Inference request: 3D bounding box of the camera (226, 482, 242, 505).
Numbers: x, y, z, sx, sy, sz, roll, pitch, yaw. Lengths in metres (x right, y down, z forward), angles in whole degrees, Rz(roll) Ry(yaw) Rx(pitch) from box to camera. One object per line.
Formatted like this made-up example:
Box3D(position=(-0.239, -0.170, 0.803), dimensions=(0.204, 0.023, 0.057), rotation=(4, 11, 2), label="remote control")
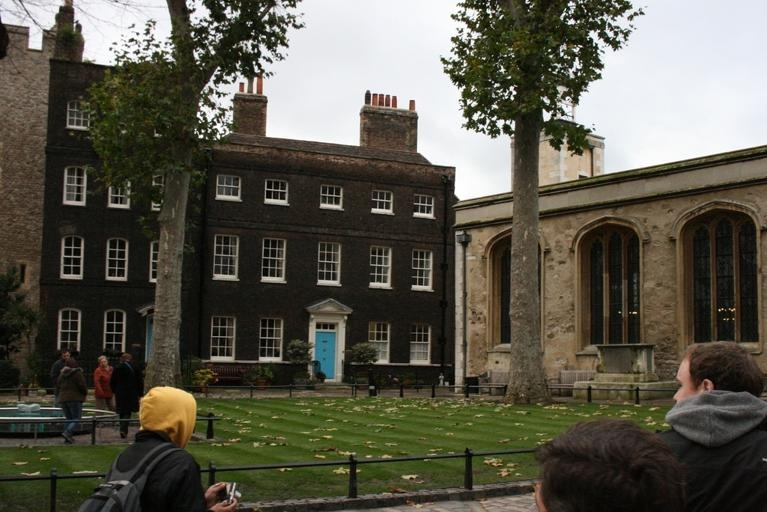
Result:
Box3D(position=(-2.491, 3.873, 15.834), dimensions=(0.213, 0.414, 0.147), rotation=(4, -14, -10), label="camera")
